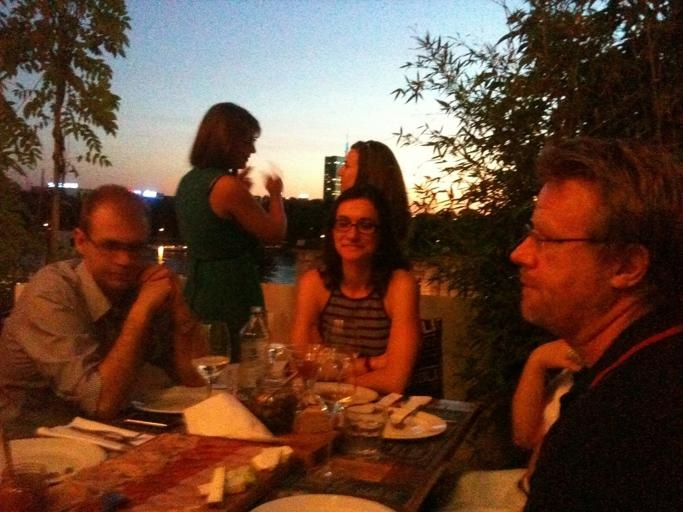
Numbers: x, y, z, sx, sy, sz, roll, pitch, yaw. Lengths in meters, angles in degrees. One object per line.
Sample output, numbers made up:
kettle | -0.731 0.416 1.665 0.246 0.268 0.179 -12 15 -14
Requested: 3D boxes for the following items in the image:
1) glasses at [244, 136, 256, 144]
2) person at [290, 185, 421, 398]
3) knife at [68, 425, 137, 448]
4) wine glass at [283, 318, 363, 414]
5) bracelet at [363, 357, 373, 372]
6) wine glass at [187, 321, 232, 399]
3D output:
glasses | -0.521 -0.657 3.063 0.059 0.019 0.069 -11 -5 -4
person | 0.076 0.170 2.825 0.751 0.959 0.692 5 12 34
knife | -0.693 0.520 1.566 0.114 0.018 0.064 13 -2 16
wine glass | -0.058 0.373 1.758 0.195 0.190 0.203 1 -11 2
bracelet | 0.131 0.525 2.646 0.060 0.049 0.020 3 -24 -13
wine glass | -0.506 0.429 2.067 0.165 0.334 0.146 3 5 2
